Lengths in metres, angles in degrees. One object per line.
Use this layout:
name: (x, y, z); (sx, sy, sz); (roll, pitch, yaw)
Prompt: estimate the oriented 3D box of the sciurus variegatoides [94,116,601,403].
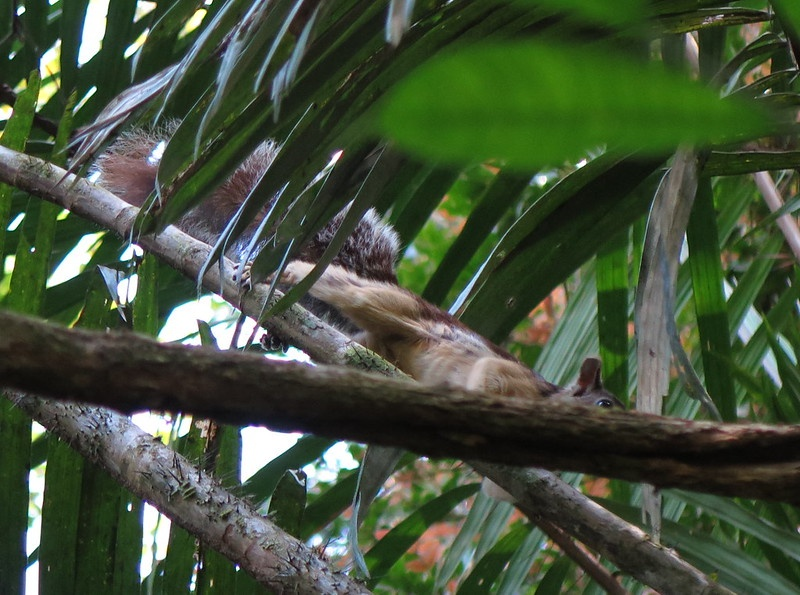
sciurus variegatoides: (-0.235, -0.145, 5.225); (0.521, 0.475, 1.401); (-43, -68, 9)
